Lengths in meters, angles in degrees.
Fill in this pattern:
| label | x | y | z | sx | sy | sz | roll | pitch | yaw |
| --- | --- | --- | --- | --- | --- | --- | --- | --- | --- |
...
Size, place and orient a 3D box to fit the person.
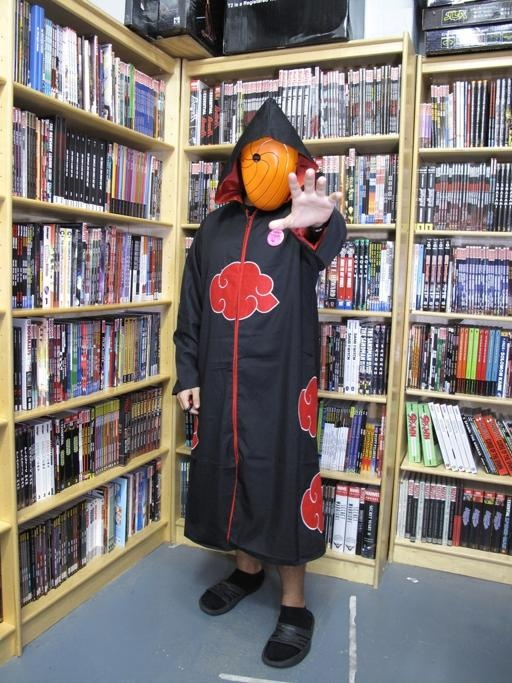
| label | x | y | z | sx | sy | sz | roll | pitch | yaw |
| --- | --- | --- | --- | --- | --- | --- | --- | --- | --- |
| person | 0.035 | -0.019 | 1.628 | 0.375 | 1.346 | 0.734 | -1 | 4 | -36 |
